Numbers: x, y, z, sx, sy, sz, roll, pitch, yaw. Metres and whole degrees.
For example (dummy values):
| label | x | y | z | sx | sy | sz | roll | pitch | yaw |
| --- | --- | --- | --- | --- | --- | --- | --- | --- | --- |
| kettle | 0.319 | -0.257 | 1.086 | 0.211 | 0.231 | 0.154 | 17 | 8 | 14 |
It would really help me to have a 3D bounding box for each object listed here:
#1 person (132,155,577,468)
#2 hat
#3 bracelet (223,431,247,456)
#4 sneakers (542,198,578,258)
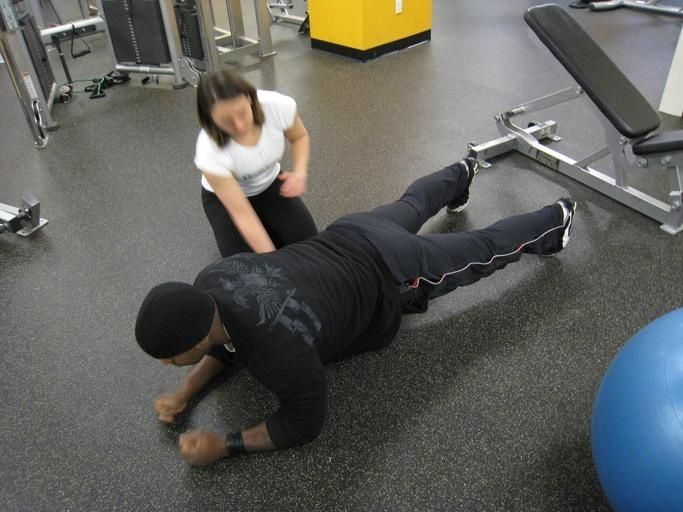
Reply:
| label | x | y | z | sx | sy | sz | roll | pitch | yaw |
| --- | --- | --- | --- | --- | --- | --- | --- | --- | --- |
| person | 0.209 | 0.009 | 2.002 | 1.791 | 0.567 | 0.724 | -34 | 53 | -22 |
| hat | -0.486 | 0.177 | 1.541 | 0.231 | 0.174 | 0.176 | -44 | 39 | 20 |
| bracelet | -0.364 | 0.651 | 1.798 | 0.063 | 0.098 | 0.089 | -7 | 56 | -10 |
| sneakers | 0.953 | -0.120 | 2.260 | 0.086 | 0.256 | 0.104 | 24 | 29 | 32 |
